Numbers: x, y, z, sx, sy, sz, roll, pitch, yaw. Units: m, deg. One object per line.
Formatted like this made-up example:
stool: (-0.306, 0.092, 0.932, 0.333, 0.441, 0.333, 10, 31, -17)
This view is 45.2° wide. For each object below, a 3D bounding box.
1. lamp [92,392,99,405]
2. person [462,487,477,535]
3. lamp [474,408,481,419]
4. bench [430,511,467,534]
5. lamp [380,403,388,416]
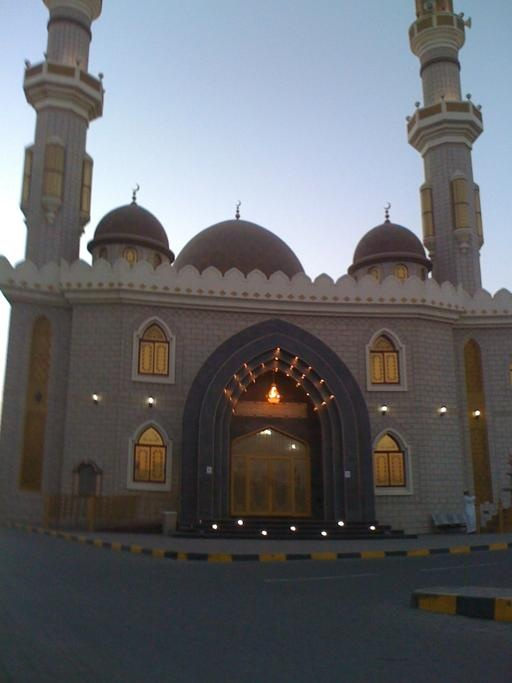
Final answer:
lamp: (-4.223, 1.534, 16.342, 0.235, 0.304, 0.123, 6, -14, -17)
person: (5.799, 4.702, 16.730, 0.308, 0.935, 0.432, -3, -14, 17)
lamp: (6.638, 2.188, 18.543, 0.259, 0.343, 0.120, 2, -19, 3)
bench: (5.235, 4.949, 16.848, 0.961, 0.543, 0.416, 4, -14, -9)
lamp: (3.607, 1.939, 17.447, 0.267, 0.326, 0.132, 0, -14, 5)
